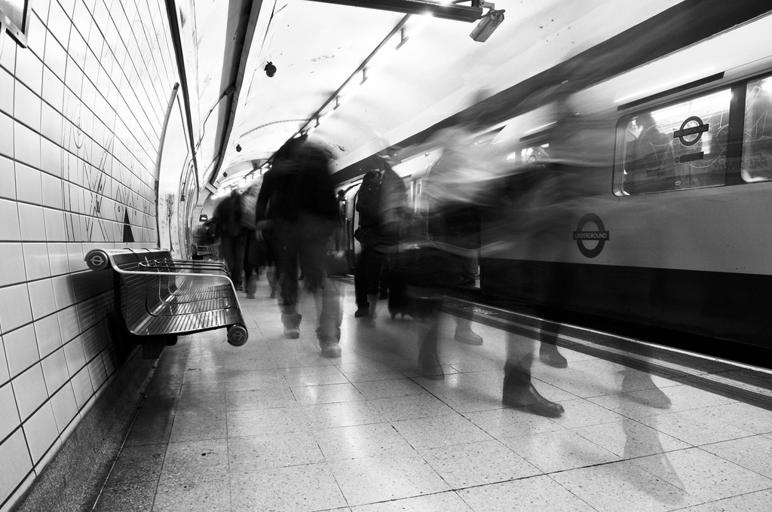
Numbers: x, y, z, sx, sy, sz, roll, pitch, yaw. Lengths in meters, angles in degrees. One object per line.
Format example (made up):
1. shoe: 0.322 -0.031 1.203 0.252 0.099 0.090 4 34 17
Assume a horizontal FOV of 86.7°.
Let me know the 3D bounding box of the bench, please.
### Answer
1. bench: -1.592 0.373 3.002 0.653 0.446 1.487 -2 5 -14
